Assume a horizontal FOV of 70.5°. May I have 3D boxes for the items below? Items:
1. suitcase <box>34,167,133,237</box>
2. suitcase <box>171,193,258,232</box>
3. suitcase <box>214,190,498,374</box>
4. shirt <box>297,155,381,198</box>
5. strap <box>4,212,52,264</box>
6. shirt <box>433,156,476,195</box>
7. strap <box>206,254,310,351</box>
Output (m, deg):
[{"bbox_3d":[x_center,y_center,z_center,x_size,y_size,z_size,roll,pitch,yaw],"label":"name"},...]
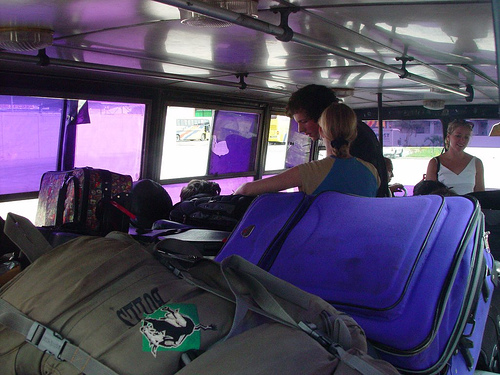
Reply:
[{"bbox_3d":[-1.530,0.123,3.209,0.802,0.559,0.516,-2,-7,40],"label":"suitcase"},{"bbox_3d":[-0.254,0.153,2.250,0.408,0.131,0.267,-2,-8,32],"label":"suitcase"},{"bbox_3d":[0.395,0.428,1.593,1.065,0.740,0.338,10,-37,29],"label":"suitcase"},{"bbox_3d":[0.468,-0.097,2.036,0.442,0.230,0.452,17,13,27],"label":"shirt"},{"bbox_3d":[-0.749,0.173,1.205,0.048,0.104,0.197,-29,-63,36],"label":"strap"},{"bbox_3d":[2.529,-0.159,4.299,0.529,0.535,0.301,-1,-11,0],"label":"shirt"},{"bbox_3d":[0.012,0.317,1.022,0.236,0.078,0.217,23,39,-8],"label":"strap"}]
